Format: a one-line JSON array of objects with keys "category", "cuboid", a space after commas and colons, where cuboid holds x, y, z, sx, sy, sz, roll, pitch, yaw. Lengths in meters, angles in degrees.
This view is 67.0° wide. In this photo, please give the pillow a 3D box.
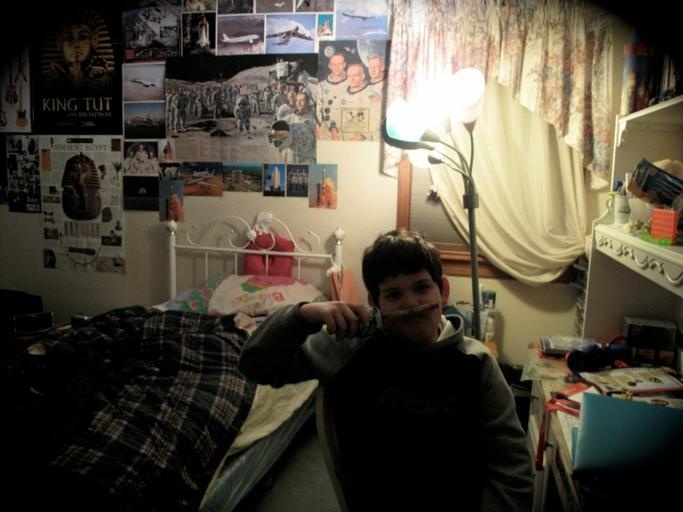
[{"category": "pillow", "cuboid": [-0.531, 0.246, 3.276, 0.728, 0.185, 0.718, 4, 8, 1]}]

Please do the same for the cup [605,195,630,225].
[{"category": "cup", "cuboid": [1.241, -0.198, 2.328, 0.112, 0.184, 0.124, -1, 2, 38]}]
